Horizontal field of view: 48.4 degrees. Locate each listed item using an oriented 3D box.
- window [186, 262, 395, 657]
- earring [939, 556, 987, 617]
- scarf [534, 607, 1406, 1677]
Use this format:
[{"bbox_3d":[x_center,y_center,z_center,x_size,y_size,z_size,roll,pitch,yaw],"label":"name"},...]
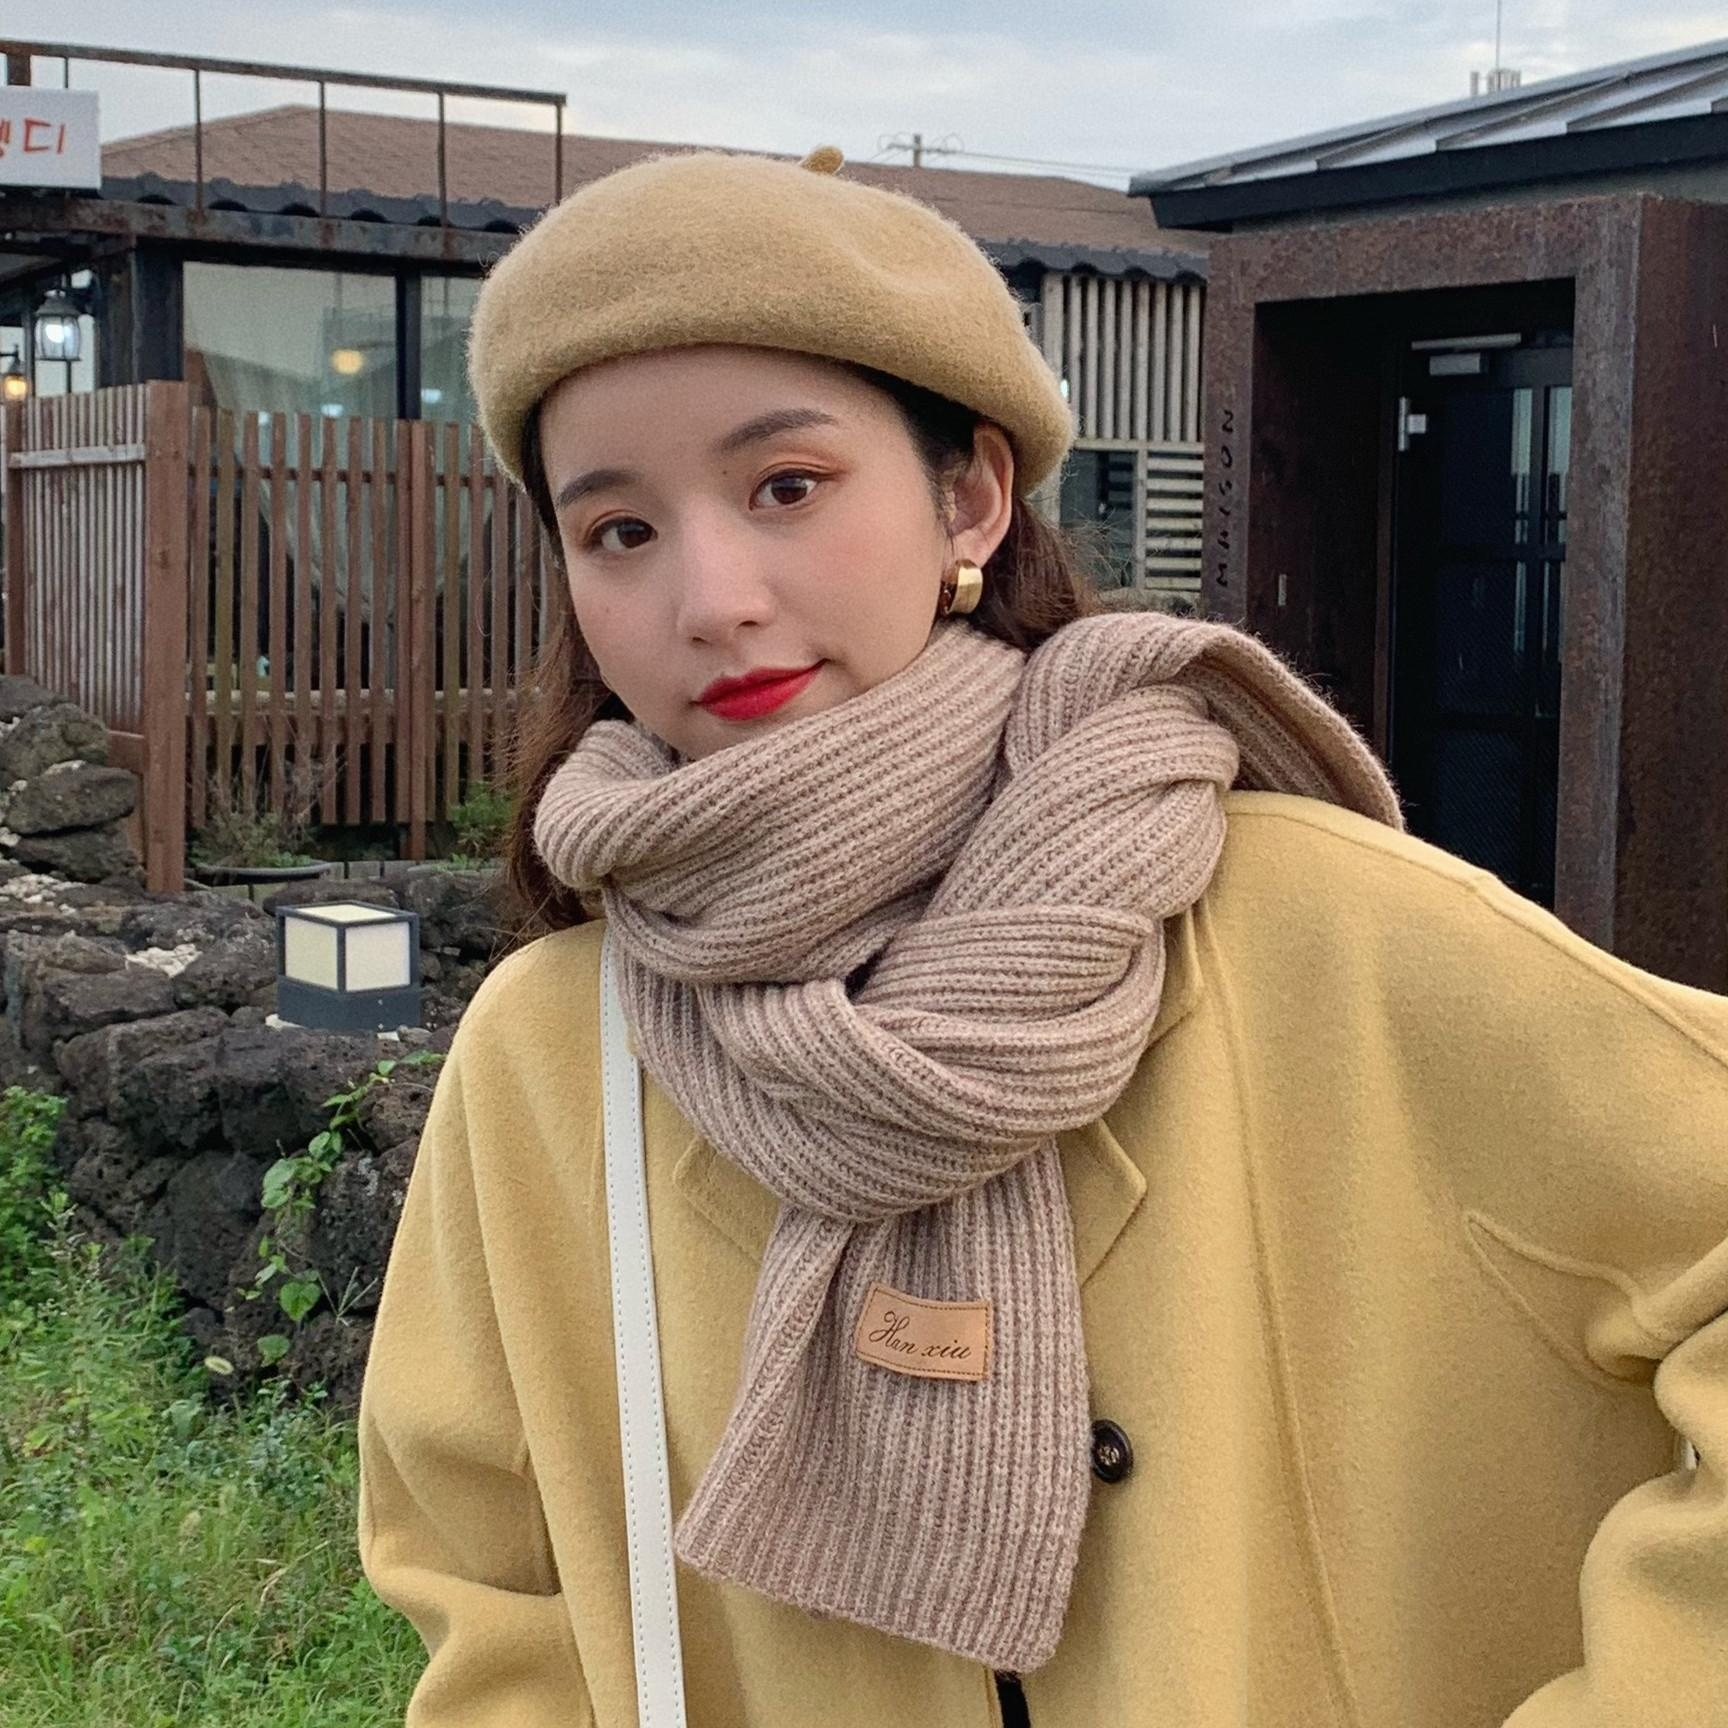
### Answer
[{"bbox_3d":[-3.341,-2.360,11.550,1.490,2.658,0.225,-1,-14,-28],"label":"window"},{"bbox_3d":[0.068,-0.199,1.389,0.030,0.040,0.035,3,-26,12],"label":"earring"},{"bbox_3d":[0.043,0.158,1.310,0.586,0.652,0.323,0,3,16],"label":"scarf"}]
